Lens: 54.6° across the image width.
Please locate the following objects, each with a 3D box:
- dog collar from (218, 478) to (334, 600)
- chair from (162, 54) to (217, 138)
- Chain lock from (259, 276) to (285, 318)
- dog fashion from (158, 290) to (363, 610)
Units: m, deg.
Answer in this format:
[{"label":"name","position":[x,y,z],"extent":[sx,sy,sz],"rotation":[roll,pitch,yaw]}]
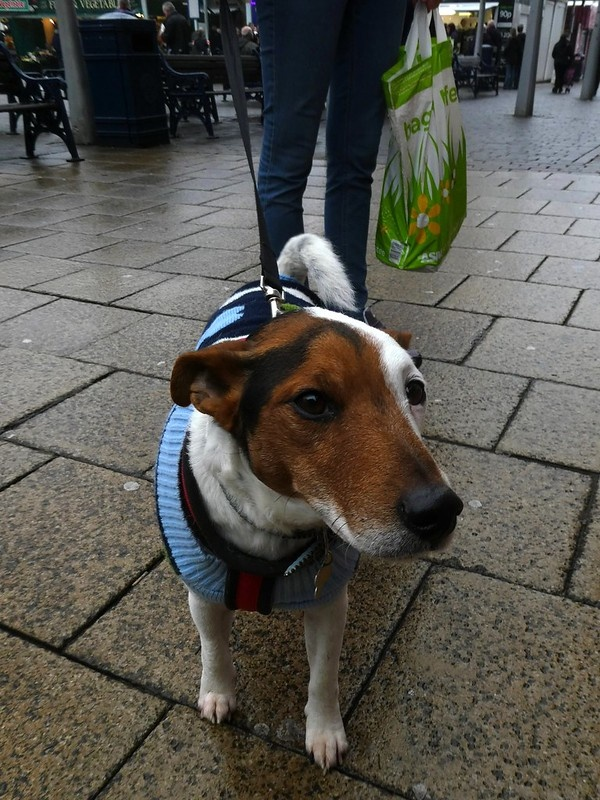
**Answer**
[{"label":"dog collar","position":[-0.036,0.271,1.051],"extent":[0.178,0.235,0.152],"rotation":[6,5,-4]},{"label":"chair","position":[-1.902,-5.611,11.303],"extent":[0.854,1.307,2.377],"rotation":[1,15,2]},{"label":"Chain lock","position":[-0.058,-0.223,1.258],"extent":[0.044,0.033,0.183],"rotation":[-8,21,-3]},{"label":"dog fashion","position":[-0.101,0.133,1.168],"extent":[0.390,0.743,0.242],"rotation":[8,4,-35]}]
